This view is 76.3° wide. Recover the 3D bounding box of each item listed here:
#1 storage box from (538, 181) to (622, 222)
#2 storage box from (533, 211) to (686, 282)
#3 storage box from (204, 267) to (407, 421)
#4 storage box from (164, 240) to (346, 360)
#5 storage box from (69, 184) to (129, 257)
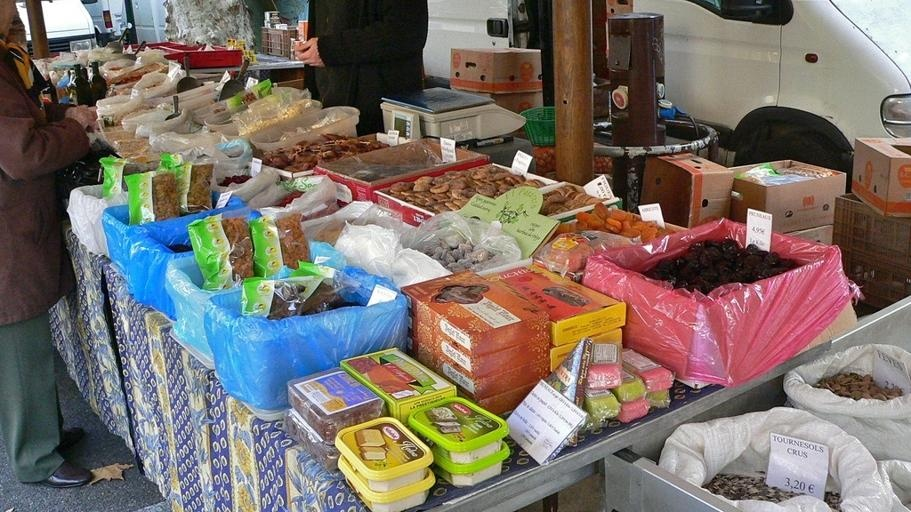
[{"bbox_3d":[0.632,-0.322,3.349,0.328,0.088,0.289,-21,37,-24],"label":"storage box"},{"bbox_3d":[0.759,-0.102,3.002,0.500,0.139,0.499,-20,27,-27],"label":"storage box"},{"bbox_3d":[-0.599,0.332,2.429,0.701,0.288,0.540,-14,25,-37],"label":"storage box"},{"bbox_3d":[-0.984,0.139,2.848,0.735,0.284,0.554,-22,38,-36],"label":"storage box"},{"bbox_3d":[-2.125,-0.223,3.464,0.361,0.466,0.294,3,0,-1],"label":"storage box"}]
